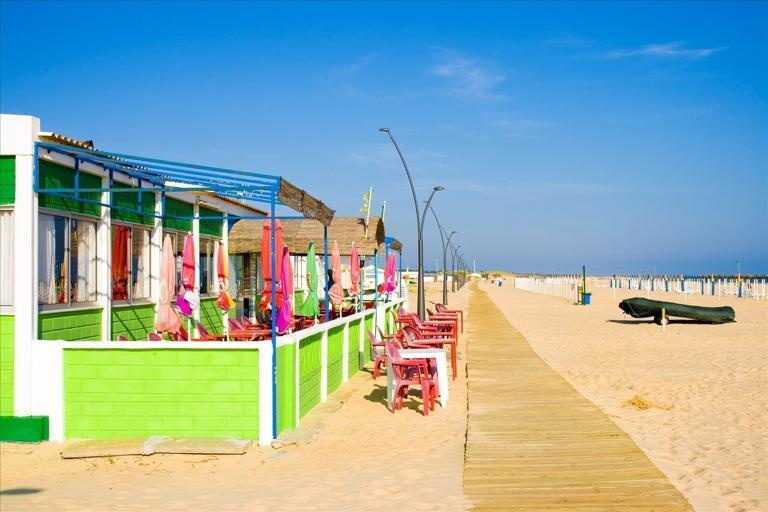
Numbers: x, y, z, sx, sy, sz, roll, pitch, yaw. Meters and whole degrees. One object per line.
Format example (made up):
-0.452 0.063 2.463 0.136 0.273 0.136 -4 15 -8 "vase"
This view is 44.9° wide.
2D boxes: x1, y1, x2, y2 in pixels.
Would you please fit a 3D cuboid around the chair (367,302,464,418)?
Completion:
0.414 2.261 17.770 1.602 1.877 1.209 -1 -2 11 "chair"
